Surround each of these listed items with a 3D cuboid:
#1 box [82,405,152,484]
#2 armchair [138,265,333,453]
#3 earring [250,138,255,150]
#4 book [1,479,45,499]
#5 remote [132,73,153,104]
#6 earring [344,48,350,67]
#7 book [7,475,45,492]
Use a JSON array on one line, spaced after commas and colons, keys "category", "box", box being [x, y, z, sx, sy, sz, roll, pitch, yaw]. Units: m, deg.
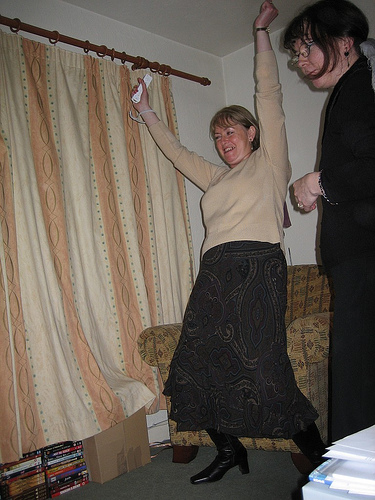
[{"category": "box", "box": [-0.293, 0.804, 1.912, 0.246, 0.235, 0.135, -10, 9, -33]}, {"category": "armchair", "box": [0.106, 0.545, 2.026, 0.829, 0.753, 0.459, 7, -16, -28]}, {"category": "earring", "box": [0.271, -0.446, 1.862, 0.012, 0.046, 0.011, -19, 9, 4]}, {"category": "book", "box": [-0.608, 0.887, 1.665, 0.160, 0.050, 0.017, -14, 8, -37]}, {"category": "remote", "box": [-0.200, -0.736, 2.063, 0.050, 0.186, 0.020, 21, -7, -2]}, {"category": "earring", "box": [0.358, -0.431, 0.995, 0.011, 0.036, 0.010, -14, 9, -39]}, {"category": "book", "box": [-0.602, 0.873, 1.676, 0.147, 0.030, 0.024, -7, -25, -41]}]
